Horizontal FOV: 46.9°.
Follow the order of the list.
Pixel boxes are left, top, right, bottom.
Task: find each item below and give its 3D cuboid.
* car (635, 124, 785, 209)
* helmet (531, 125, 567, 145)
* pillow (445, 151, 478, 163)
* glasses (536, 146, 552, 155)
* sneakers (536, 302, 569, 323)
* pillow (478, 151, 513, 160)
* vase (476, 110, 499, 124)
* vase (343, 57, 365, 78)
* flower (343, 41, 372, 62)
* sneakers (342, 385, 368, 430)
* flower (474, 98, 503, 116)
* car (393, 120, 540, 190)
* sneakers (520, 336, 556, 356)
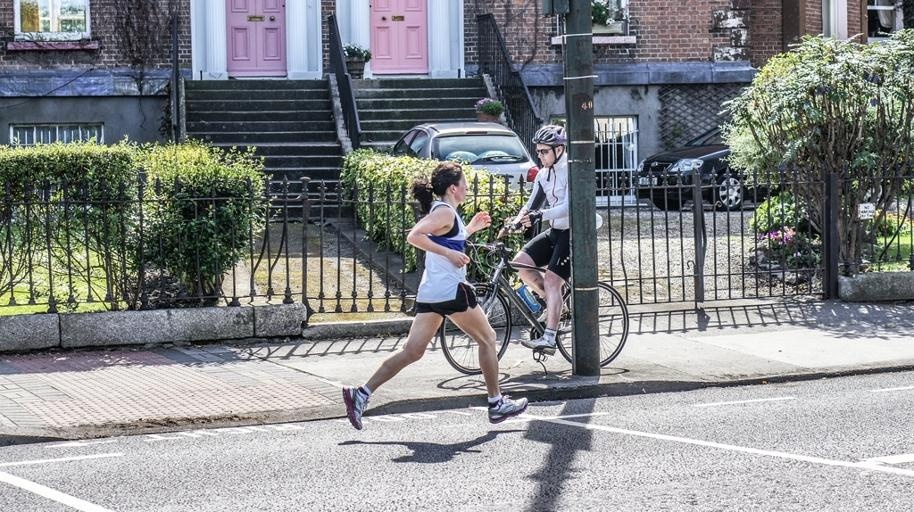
[{"bbox_3d":[4.929,-2.042,23.325,4.221,1.519,1.923,-1,1,-30],"label":"car"},{"bbox_3d":[1.270,-1.566,13.787,0.276,0.194,0.395,7,5,40],"label":"helmet"},{"bbox_3d":[0.116,-1.897,20.241,0.509,0.146,0.516,7,16,20],"label":"pillow"},{"bbox_3d":[1.125,-1.382,13.805,0.130,0.109,0.247,-5,5,-36],"label":"glasses"},{"bbox_3d":[1.277,0.750,13.847,0.408,0.252,0.205,-1,5,-11],"label":"sneakers"},{"bbox_3d":[0.735,-1.958,20.552,0.746,0.060,0.179,1,32,-19],"label":"pillow"},{"bbox_3d":[0.742,-3.279,25.086,0.365,0.281,0.379,0,4,-3],"label":"vase"},{"bbox_3d":[-2.549,-4.690,26.203,0.463,0.342,0.462,-1,4,2],"label":"vase"},{"bbox_3d":[-2.499,-5.071,26.321,0.687,0.457,0.450,-3,4,-14],"label":"flower"},{"bbox_3d":[-1.141,1.735,12.056,0.268,0.490,0.110,-3,4,-21],"label":"sneakers"},{"bbox_3d":[0.789,-3.550,24.999,0.533,0.442,0.680,-5,5,-38],"label":"flower"},{"bbox_3d":[0.297,-1.789,20.621,1.481,1.101,2.541,-2,13,-12],"label":"car"},{"bbox_3d":[1.088,1.163,13.624,0.507,0.216,0.183,13,-25,4],"label":"sneakers"}]
